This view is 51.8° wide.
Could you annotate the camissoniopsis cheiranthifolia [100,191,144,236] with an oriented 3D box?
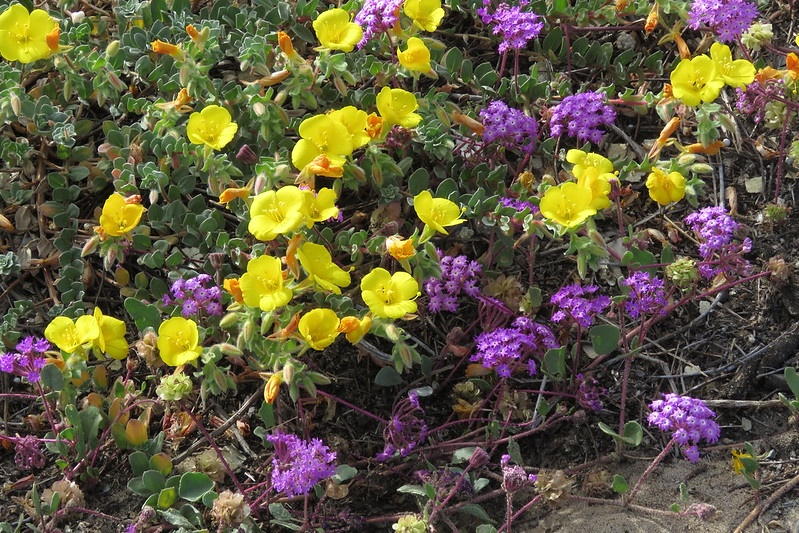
[{"bbox_3d":[-1.535,-0.304,4.577,0.207,0.259,0.154,-7,11,-4],"label":"camissoniopsis cheiranthifolia"}]
